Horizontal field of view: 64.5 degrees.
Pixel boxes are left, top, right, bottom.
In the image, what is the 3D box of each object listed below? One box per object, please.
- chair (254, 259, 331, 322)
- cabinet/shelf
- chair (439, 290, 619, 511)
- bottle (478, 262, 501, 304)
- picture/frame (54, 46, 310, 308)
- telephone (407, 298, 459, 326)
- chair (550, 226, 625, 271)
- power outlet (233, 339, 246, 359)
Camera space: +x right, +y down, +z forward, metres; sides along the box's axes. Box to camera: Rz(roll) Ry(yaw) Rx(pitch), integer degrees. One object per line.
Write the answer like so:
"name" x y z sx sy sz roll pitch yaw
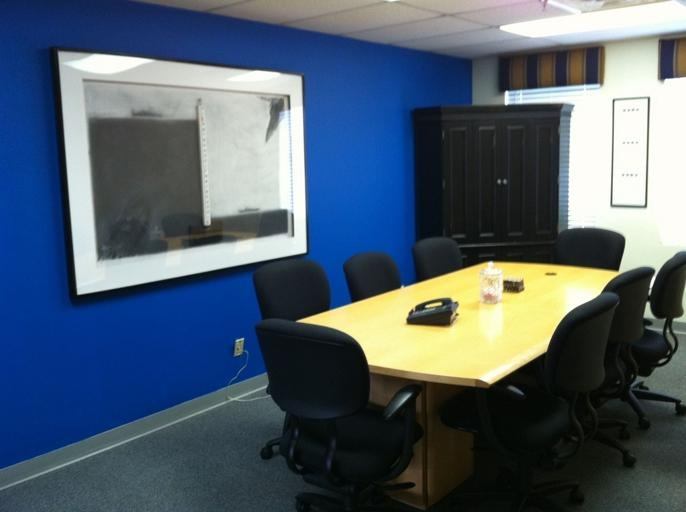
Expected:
"chair" -0.330 0.306 3.774 0.547 0.534 0.306 -8 14 -28
"cabinet/shelf" 1.563 -0.812 5.827 1.585 2.229 0.815 -1 4 -8
"chair" 1.006 0.817 2.952 0.897 1.259 0.539 -1 13 2
"bottle" 0.991 0.189 3.755 0.148 0.263 0.150 8 -11 2
"picture/frame" -1.241 -0.576 3.999 2.031 1.582 0.073 -7 9 -44
"telephone" 0.557 0.348 3.371 0.231 0.094 0.182 2 14 24
"chair" 2.251 -0.125 4.943 0.402 0.579 0.474 5 9 41
"power outlet" -0.868 0.770 4.536 0.019 0.198 0.159 5 7 39
